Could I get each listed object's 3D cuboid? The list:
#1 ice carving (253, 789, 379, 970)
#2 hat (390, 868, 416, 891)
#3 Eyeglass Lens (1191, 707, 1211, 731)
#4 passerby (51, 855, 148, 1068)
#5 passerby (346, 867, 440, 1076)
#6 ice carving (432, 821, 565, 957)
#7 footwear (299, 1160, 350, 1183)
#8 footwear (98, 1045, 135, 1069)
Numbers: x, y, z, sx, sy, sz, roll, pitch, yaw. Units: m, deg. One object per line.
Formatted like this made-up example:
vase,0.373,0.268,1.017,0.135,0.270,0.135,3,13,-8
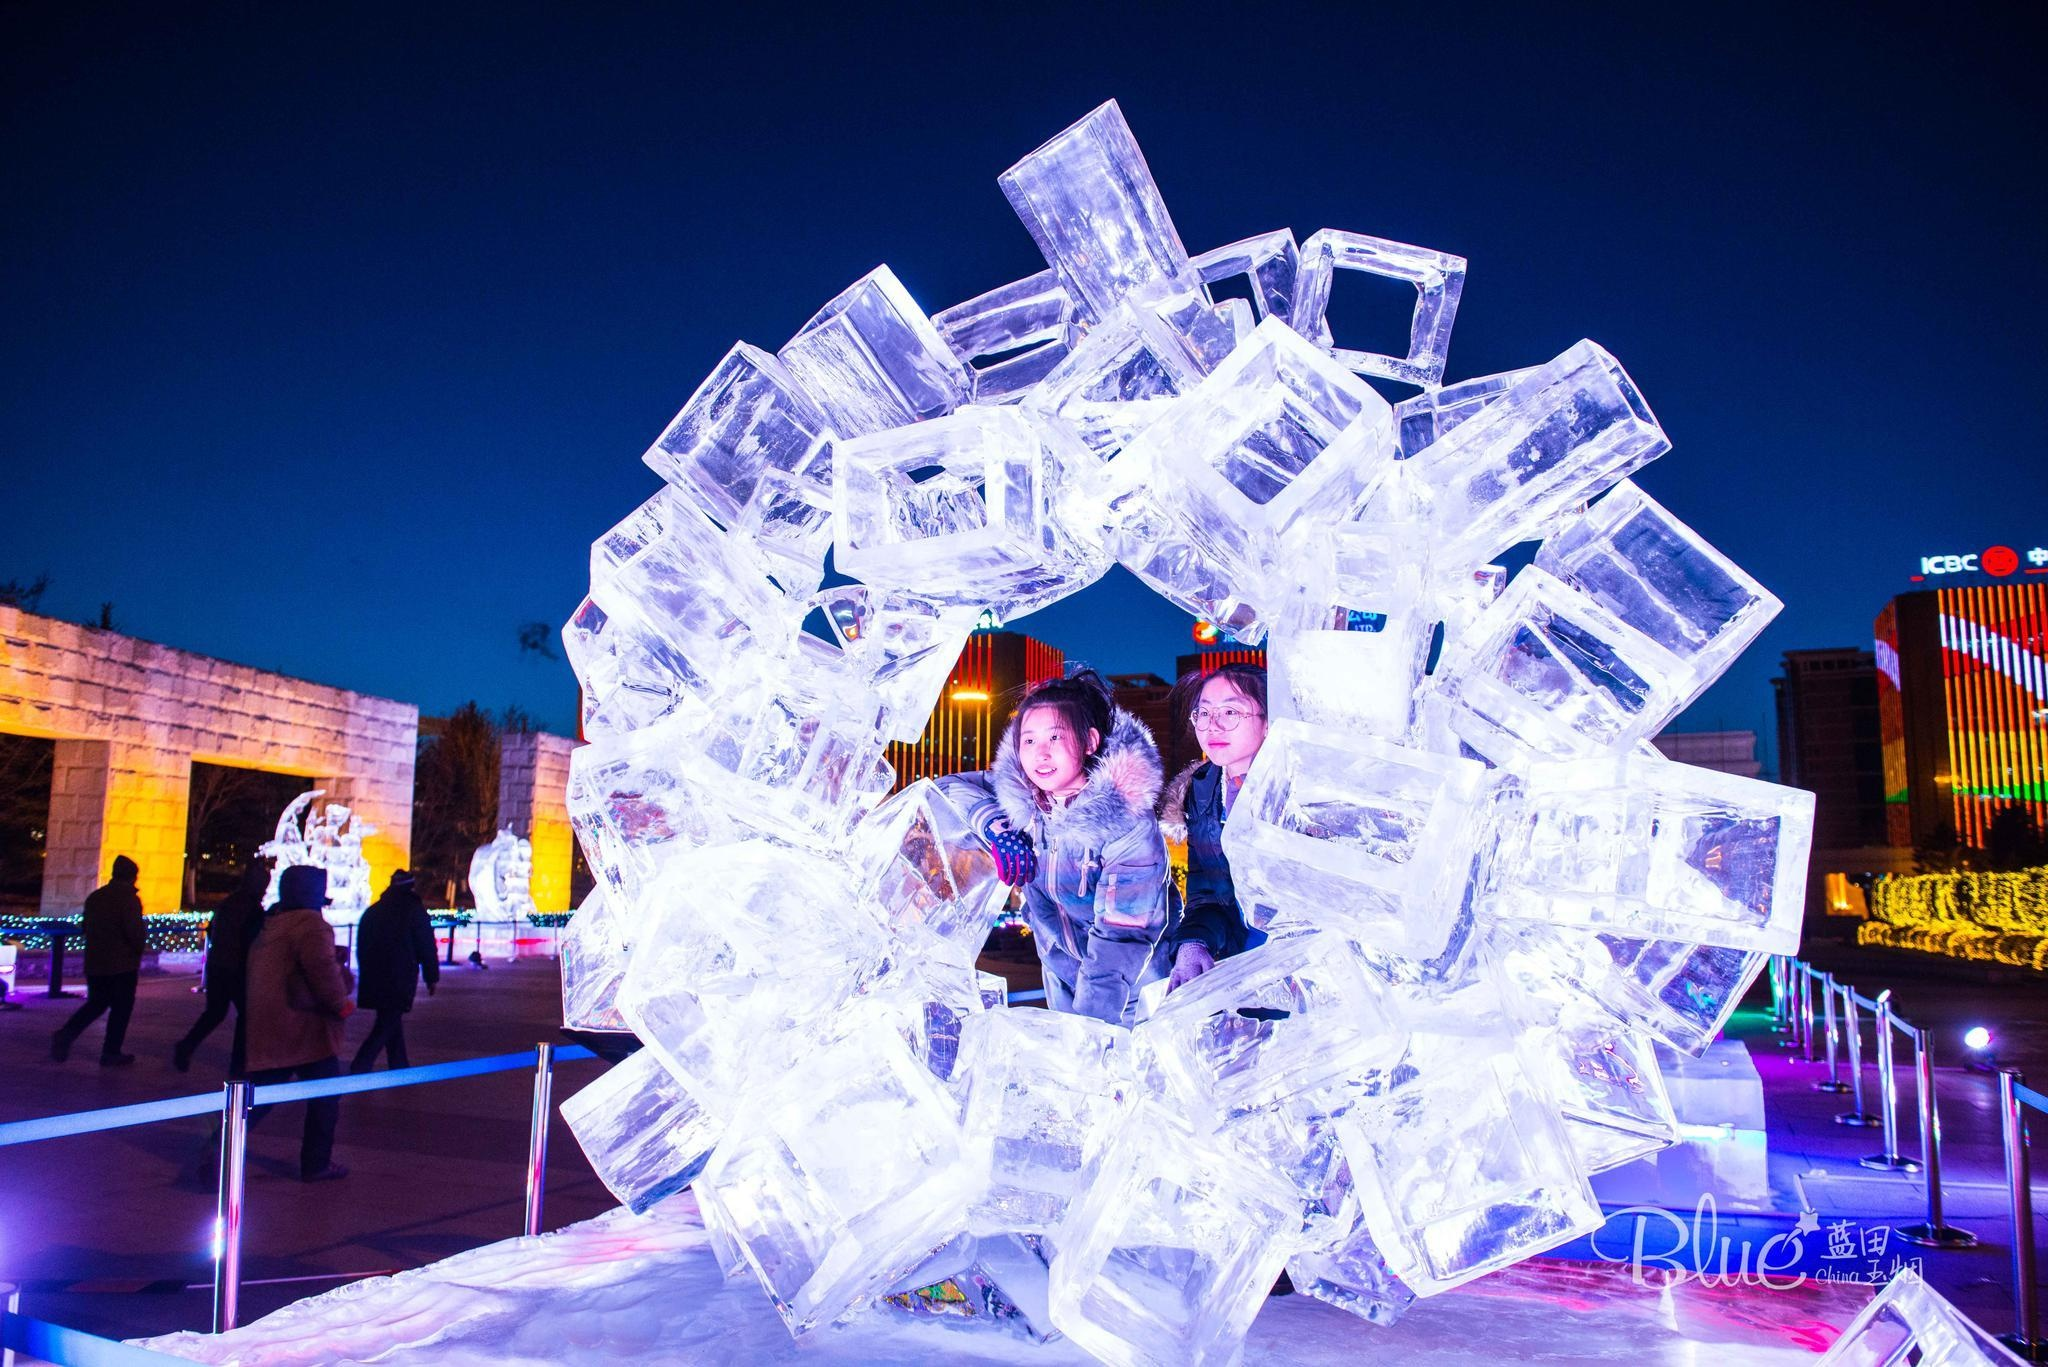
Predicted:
ice carving,-9.082,2.396,19.022,1.281,2.979,1.429,3,-3,17
hat,-4.683,1.468,10.997,0.175,0.168,0.176,6,7,-24
Eyeglass Lens,0.761,0.144,6.158,0.086,0.041,0.084,19,-4,-38
passerby,-7.888,2.364,12.400,0.620,1.698,0.728,-7,-6,35
passerby,-4.613,2.128,10.726,0.566,1.476,0.581,3,-4,-25
ice carving,-10.577,4.088,29.304,1.801,2.403,14.070,8,-10,-20
footwear,-4.227,2.962,8.845,0.131,0.052,0.135,3,0,15
footwear,-7.501,3.103,12.148,0.131,0.147,0.313,31,11,37
